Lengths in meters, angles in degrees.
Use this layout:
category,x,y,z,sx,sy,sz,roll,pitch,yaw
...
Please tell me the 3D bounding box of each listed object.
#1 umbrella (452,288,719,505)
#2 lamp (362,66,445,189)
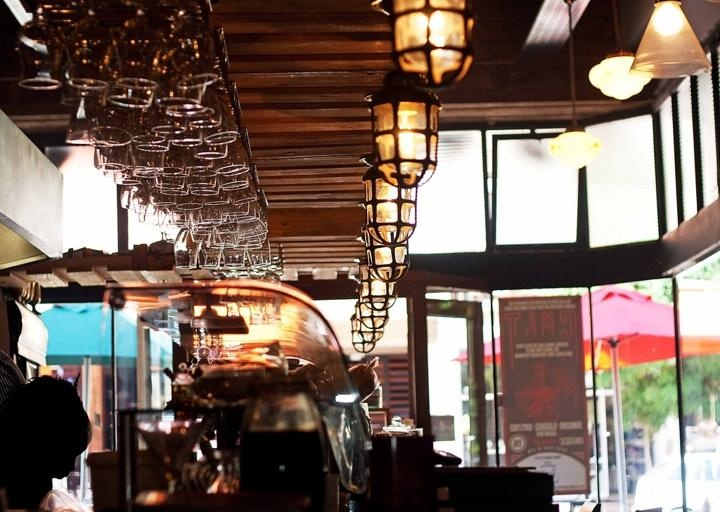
category,x,y,z,sx,sy,sz,roll,pitch,yaw
umbrella,3.131,1.631,12.926,2.749,2.345,2.698,-1,-12,-9
lamp,0.266,-0.695,6.018,0.411,0.652,0.418,3,-3,-44
